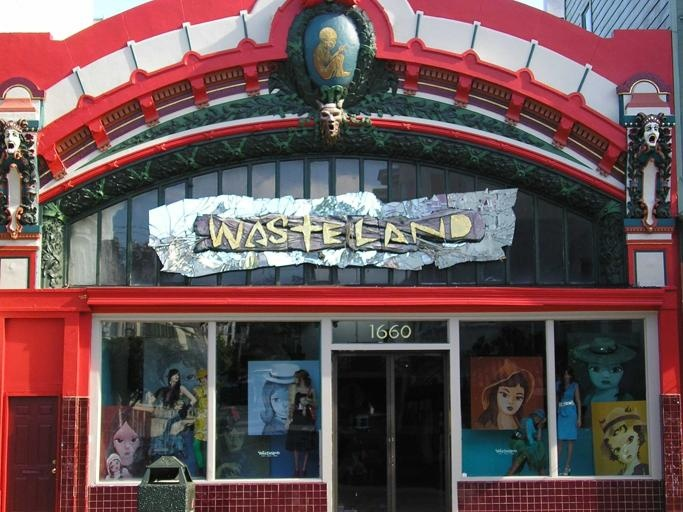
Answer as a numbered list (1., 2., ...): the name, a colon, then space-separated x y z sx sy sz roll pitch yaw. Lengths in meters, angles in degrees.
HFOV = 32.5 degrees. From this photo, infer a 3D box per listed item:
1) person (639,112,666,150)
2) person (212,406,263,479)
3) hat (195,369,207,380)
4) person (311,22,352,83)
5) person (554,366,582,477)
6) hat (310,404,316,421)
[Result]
1. person: 6.042 -2.393 22.795 0.609 0.951 0.287 1 -6 1
2. person: -2.049 3.536 22.373 0.683 1.320 0.215 1 -12 -7
3. hat: -2.677 2.260 22.443 0.180 0.204 0.050 -1 -4 2
4. person: -0.200 -3.896 22.718 0.671 0.913 0.350 0 -12 -1
5. person: 4.383 3.179 22.603 0.478 1.972 0.275 -2 -12 5
6. hat: -0.548 2.986 22.468 0.052 0.234 0.157 -1 0 -23
